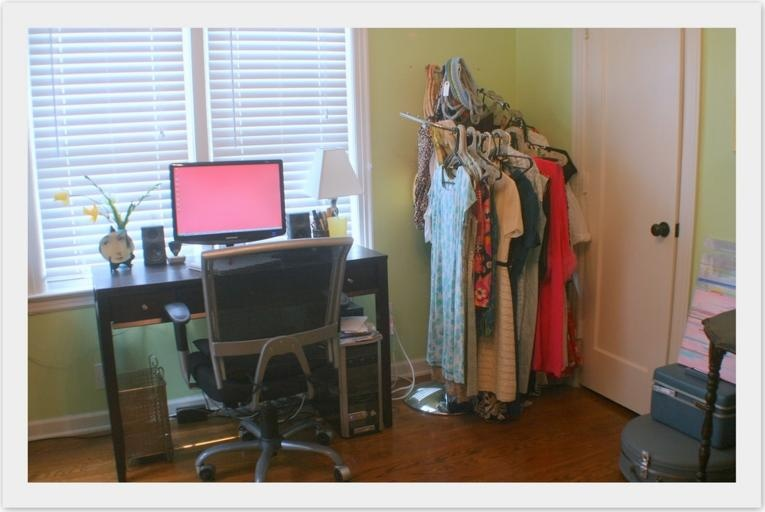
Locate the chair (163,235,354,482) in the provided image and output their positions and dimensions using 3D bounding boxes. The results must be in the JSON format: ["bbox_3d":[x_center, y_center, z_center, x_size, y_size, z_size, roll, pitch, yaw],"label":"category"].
[{"bbox_3d":[-0.566,0.470,2.857,0.839,1.171,0.693,-6,8,-27],"label":"chair"}]

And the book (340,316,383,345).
[{"bbox_3d":[-0.129,0.398,3.145,0.153,0.036,0.151,-3,11,-18],"label":"book"}]

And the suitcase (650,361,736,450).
[{"bbox_3d":[1.476,0.685,2.761,0.252,0.253,0.386,-9,14,-30],"label":"suitcase"}]

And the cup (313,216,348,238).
[{"bbox_3d":[-0.302,-0.156,3.444,0.192,0.131,0.136,-1,1,0],"label":"cup"}]

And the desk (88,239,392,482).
[{"bbox_3d":[-0.758,0.487,3.366,1.518,1.000,0.612,-7,17,-22],"label":"desk"}]

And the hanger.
[{"bbox_3d":[0.774,-0.490,3.447,0.496,0.187,0.477,0,33,-17],"label":"hanger"}]

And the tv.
[{"bbox_3d":[-0.822,-0.276,3.219,0.616,0.447,0.086,-3,4,3],"label":"tv"}]

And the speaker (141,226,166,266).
[{"bbox_3d":[-1.229,-0.042,3.238,0.136,0.219,0.139,-10,-11,6],"label":"speaker"}]

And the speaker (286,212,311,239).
[{"bbox_3d":[-0.473,-0.165,3.368,0.146,0.202,0.148,-1,2,-29],"label":"speaker"}]
